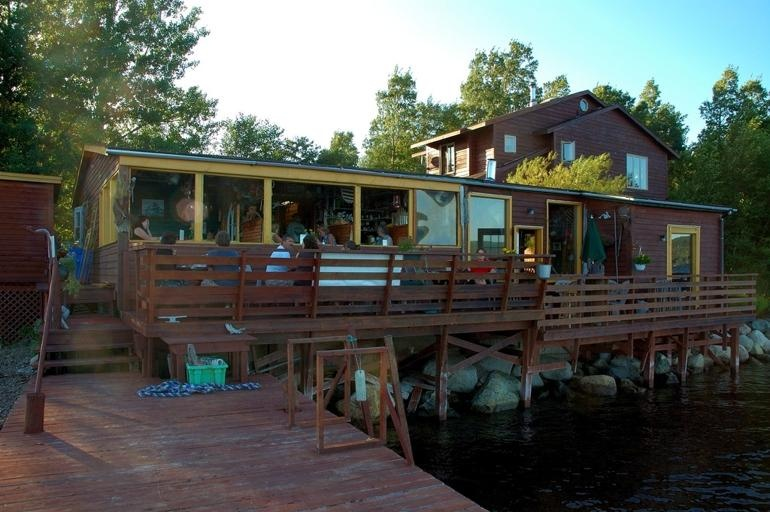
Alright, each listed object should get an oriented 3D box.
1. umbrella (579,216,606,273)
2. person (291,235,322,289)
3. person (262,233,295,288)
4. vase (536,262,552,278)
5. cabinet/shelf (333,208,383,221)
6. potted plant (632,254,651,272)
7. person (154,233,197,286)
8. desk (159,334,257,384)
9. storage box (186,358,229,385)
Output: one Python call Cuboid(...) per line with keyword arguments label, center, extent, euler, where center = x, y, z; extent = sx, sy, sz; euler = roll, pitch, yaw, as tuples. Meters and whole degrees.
Cuboid(label="umbrella", center=(6.964, -0.225, 20.695), extent=(0.738, 1.986, 2.767), euler=(4, 10, 19))
Cuboid(label="person", center=(-1.750, 0.075, 13.882), extent=(0.591, 1.080, 1.580), euler=(0, 9, -6))
Cuboid(label="person", center=(-2.447, 0.033, 14.343), extent=(0.593, 0.989, 2.541), euler=(-1, 9, -10))
Cuboid(label="vase", center=(4.073, 0.399, 15.836), extent=(0.357, 0.387, 0.350), euler=(1, -5, -2))
Cuboid(label="cabinet/shelf", center=(-0.765, -1.329, 19.875), extent=(1.667, 0.582, 0.772), euler=(1, 9, -1))
Cuboid(label="potted plant", center=(8.582, 0.224, 20.687), extent=(0.651, 0.628, 0.636), euler=(0, 4, -7))
Cuboid(label="person", center=(-4.885, 0.013, 14.055), extent=(0.782, 1.044, 1.085), euler=(-2, 6, -28))
Cuboid(label="desk", center=(-3.364, 1.967, 11.985), extent=(1.643, 0.953, 0.947), euler=(-1, 10, -13))
Cuboid(label="storage box", center=(-3.384, 2.190, 11.757), extent=(0.536, 0.344, 0.774), euler=(2, -5, -18))
